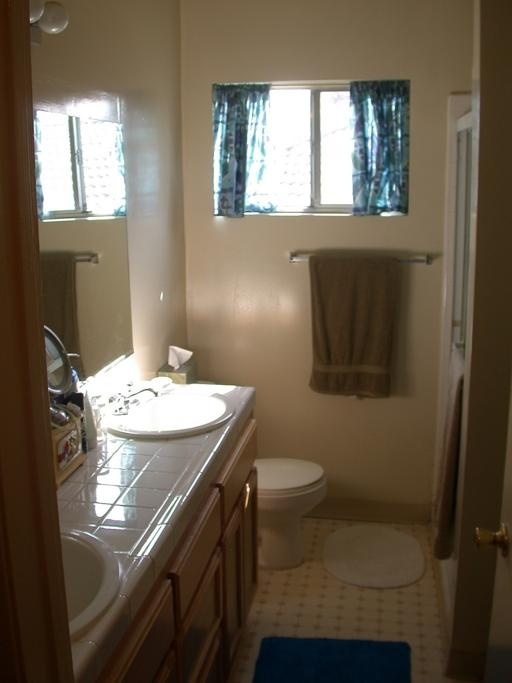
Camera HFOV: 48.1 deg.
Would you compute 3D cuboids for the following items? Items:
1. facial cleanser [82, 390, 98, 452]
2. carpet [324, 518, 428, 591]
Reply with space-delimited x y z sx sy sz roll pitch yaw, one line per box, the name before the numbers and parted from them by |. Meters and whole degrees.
facial cleanser | -0.477 0.245 1.642 0.037 0.171 0.041 -6 9 -29
carpet | 0.566 1.036 2.778 0.483 0.026 0.503 1 11 6
